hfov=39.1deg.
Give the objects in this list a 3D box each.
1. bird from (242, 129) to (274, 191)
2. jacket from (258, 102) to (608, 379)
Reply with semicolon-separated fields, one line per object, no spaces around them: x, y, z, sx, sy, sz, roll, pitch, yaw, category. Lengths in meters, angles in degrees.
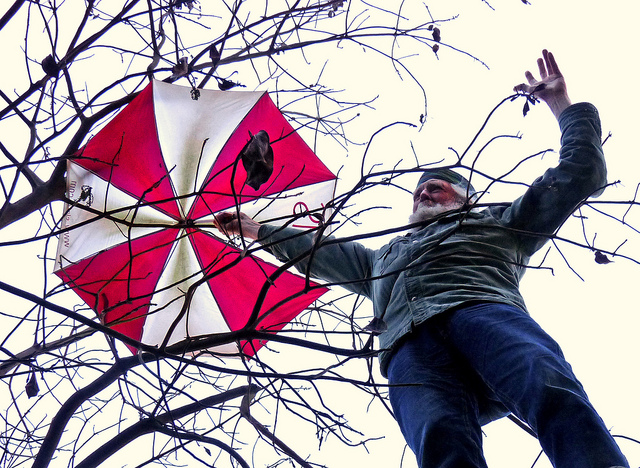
-0.340;-0.408;4.994;0.158;0.369;0.322;1;-58;-2;bird
0.674;0.152;5.365;2.296;1.164;0.818;-26;-65;3;jacket
